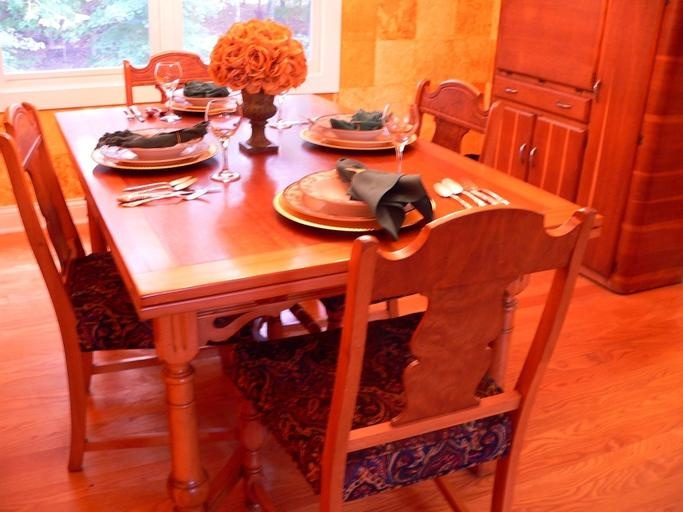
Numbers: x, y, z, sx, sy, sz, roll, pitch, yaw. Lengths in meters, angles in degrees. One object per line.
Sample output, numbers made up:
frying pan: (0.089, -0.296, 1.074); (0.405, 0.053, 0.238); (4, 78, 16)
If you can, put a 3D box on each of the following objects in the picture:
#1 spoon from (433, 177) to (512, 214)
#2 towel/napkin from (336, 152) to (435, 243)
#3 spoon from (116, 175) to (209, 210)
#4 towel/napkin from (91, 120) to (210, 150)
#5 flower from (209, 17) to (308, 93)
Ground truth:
spoon: (0.332, -0.168, 1.442); (0.103, 0.025, 0.195); (-14, 28, -31)
towel/napkin: (0.078, -0.137, 1.268); (0.154, 0.092, 0.246); (-24, 33, -35)
spoon: (-0.485, -0.172, 1.436); (0.195, 0.023, 0.094); (-12, 31, -22)
towel/napkin: (-0.570, -0.358, 1.621); (0.268, 0.059, 0.150); (-2, 23, -24)
flower: (-0.230, -0.627, 1.678); (0.259, 0.159, 0.266); (21, 31, 33)
